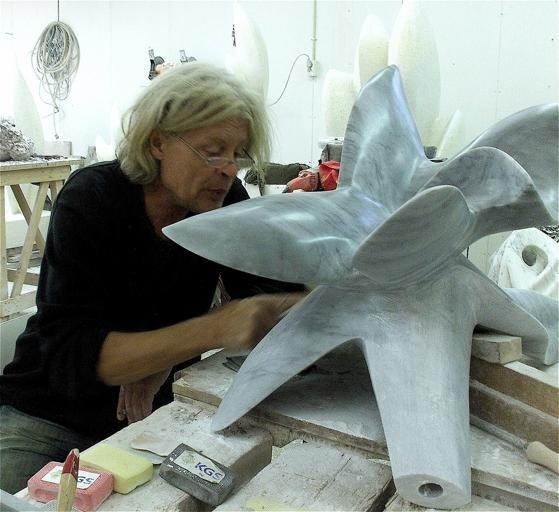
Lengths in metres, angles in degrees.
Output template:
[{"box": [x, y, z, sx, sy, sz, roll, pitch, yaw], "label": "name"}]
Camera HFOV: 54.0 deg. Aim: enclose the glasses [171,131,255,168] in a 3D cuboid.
[{"box": [-0.152, -0.233, 1.216, 0.098, 0.025, 0.101, 39, 30, 23], "label": "glasses"}]
